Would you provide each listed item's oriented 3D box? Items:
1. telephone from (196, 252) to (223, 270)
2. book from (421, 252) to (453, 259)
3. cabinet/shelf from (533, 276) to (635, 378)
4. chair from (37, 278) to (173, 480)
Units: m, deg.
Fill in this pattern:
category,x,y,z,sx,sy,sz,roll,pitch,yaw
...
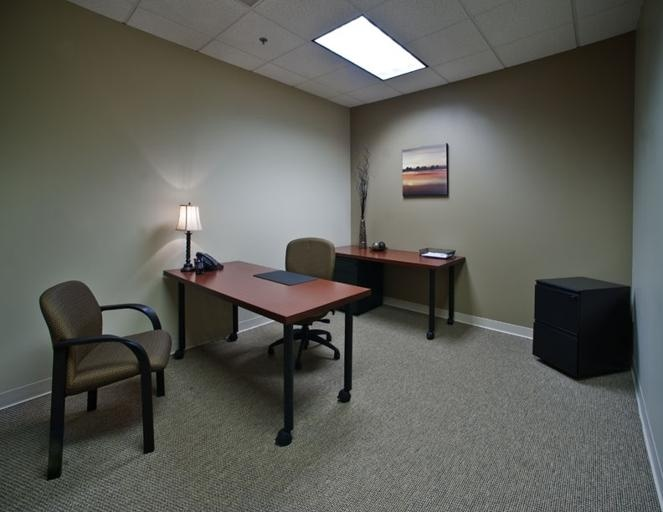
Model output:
category,x,y,z,sx,sy,sz,roll,pitch,yaw
telephone,-1.077,0.049,4.129,0.091,0.133,0.305,-2,-5,19
book,1.077,-0.014,4.804,0.330,0.054,0.197,9,16,33
cabinet/shelf,2.010,0.574,4.063,0.665,1.013,0.642,0,-1,-17
chair,-1.665,0.838,3.665,0.960,1.752,1.161,-1,4,-10
